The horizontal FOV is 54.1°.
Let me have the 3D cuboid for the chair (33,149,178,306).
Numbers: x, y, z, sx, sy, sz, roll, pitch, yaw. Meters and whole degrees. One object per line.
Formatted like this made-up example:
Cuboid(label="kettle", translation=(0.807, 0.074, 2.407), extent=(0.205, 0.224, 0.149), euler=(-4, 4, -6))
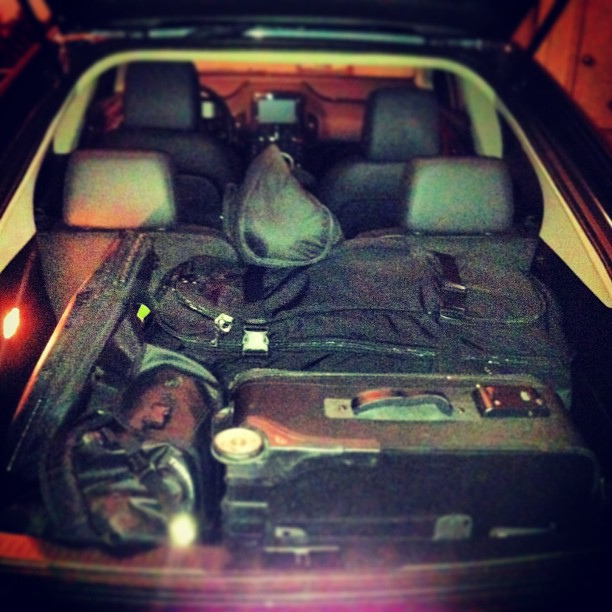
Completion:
Cuboid(label="chair", translation=(-0.518, -0.197, 1.539), extent=(0.300, 0.425, 0.157), euler=(12, 23, -5))
